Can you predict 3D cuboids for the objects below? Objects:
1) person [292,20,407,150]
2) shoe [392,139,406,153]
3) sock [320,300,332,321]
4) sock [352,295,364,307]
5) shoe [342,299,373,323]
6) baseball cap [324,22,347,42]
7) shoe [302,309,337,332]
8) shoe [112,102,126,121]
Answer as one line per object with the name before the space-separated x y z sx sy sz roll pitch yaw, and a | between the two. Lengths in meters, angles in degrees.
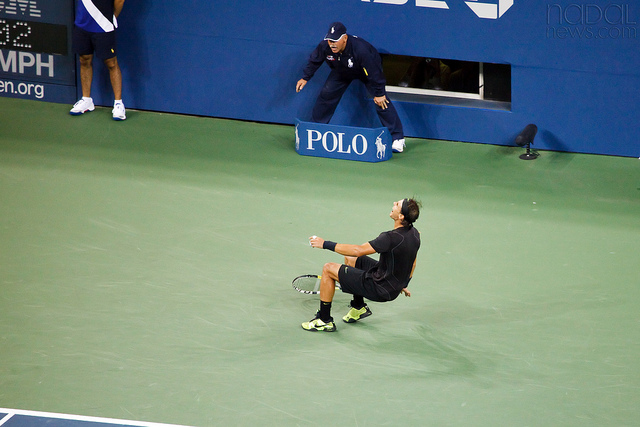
person | 0.466 -2.199 10.982 1.455 1.018 1.882 34 -21 22
shoe | 1.368 -1.181 11.062 0.305 0.177 0.338 2 31 11
sock | 0.056 1.103 7.428 0.121 0.243 0.244 3 4 -3
sock | 0.456 1.022 7.511 0.135 0.159 0.126 3 4 -7
shoe | 0.462 1.141 7.627 0.419 0.268 0.174 -16 4 12
baseball cap | 0.255 -2.877 10.272 0.245 0.194 0.369 15 46 21
shoe | -0.006 1.272 7.519 0.459 0.275 0.172 2 -1 4
shoe | -3.638 -1.824 11.593 0.224 0.324 0.172 2 4 -20
